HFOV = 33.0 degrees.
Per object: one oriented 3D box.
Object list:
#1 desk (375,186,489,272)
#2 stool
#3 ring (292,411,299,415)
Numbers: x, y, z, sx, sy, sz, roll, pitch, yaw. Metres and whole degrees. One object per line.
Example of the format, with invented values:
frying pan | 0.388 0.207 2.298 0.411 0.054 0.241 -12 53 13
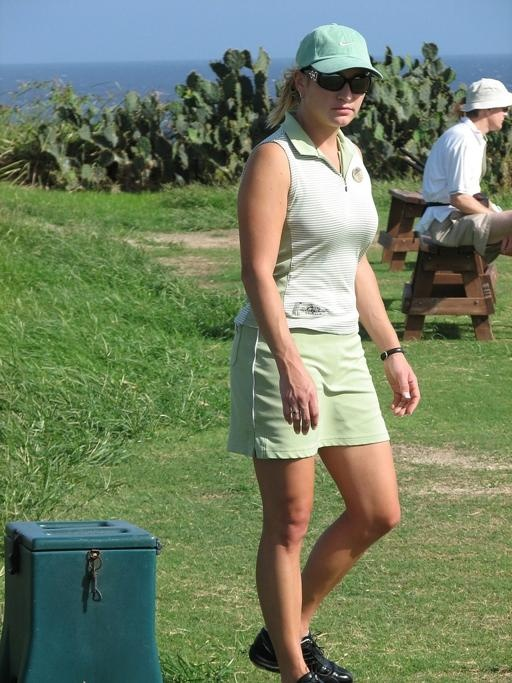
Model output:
desk | 1.925 -1.158 9.586 0.981 0.909 1.056 7 16 -8
stool | 1.574 -0.447 7.231 0.954 0.683 0.841 0 15 1
ring | 0.100 0.181 2.184 0.013 0.013 0.008 -4 -7 8
